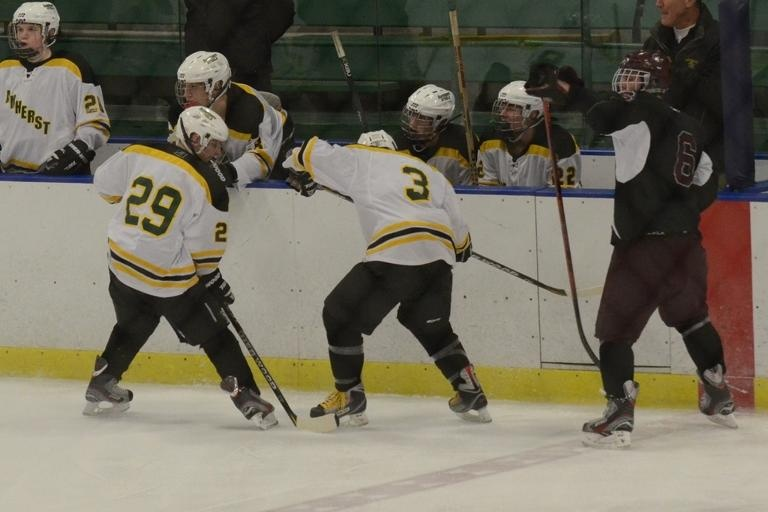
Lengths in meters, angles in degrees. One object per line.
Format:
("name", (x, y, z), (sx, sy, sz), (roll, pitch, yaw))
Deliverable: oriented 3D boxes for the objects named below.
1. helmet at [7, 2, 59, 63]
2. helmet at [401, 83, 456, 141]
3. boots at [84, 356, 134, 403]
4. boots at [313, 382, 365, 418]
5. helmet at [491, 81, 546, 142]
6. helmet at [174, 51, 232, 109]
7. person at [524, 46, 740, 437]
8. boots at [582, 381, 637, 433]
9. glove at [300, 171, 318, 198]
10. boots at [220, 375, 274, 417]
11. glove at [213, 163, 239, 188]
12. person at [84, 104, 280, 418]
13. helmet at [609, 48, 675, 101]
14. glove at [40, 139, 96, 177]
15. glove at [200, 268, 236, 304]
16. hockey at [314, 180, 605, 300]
("helmet", (-2.282, -1.474, 7.232), (0.324, 0.377, 0.407), (11, 16, 25))
("helmet", (0.257, -0.933, 7.134), (0.369, 0.322, 0.296), (-24, 52, -26))
("boots", (-1.572, 0.713, 6.265), (0.289, 0.264, 0.153), (19, -21, -40))
("boots", (-0.290, 0.817, 6.236), (0.358, 0.207, 0.138), (1, -1, 4))
("helmet", (0.853, -0.931, 7.117), (0.392, 0.355, 0.311), (2, -2, -26))
("helmet", (-1.104, -1.119, 6.939), (0.289, 0.340, 0.373), (19, 27, 40))
("person", (1.412, -0.074, 5.956), (0.950, 2.009, 0.705), (-6, 16, -22))
("boots", (1.217, 0.806, 5.825), (0.302, 0.275, 0.135), (-4, 15, -14))
("glove", (-0.431, -0.414, 6.390), (0.080, 0.137, 0.069), (-3, -15, 21))
("boots", (-0.765, 0.789, 6.129), (0.297, 0.109, 0.180), (44, 42, 3))
("glove", (-0.918, -0.470, 6.415), (0.084, 0.156, 0.111), (-32, 10, 31))
("person", (-1.149, 0.113, 6.377), (1.118, 1.859, 0.877), (26, 31, 29))
("helmet", (1.369, -0.955, 5.946), (0.303, 0.255, 0.240), (11, -5, -12))
("glove", (-2.020, -0.629, 7.145), (0.111, 0.209, 0.351), (1, 25, 46))
("glove", (-0.929, 0.168, 6.225), (0.085, 0.221, 0.121), (-9, 44, 53))
("hockey", (0.485, -0.088, 6.344), (1.391, 0.200, 0.086), (23, 56, 16))
